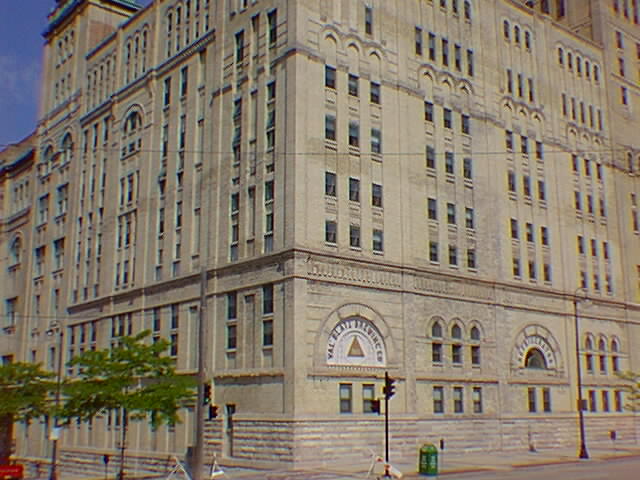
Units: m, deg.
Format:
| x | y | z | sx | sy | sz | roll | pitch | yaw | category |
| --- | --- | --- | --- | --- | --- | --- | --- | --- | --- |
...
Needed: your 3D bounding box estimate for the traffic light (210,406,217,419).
| x | y | z | sx | sy | sz | roll | pitch | yaw | category |
| --- | --- | --- | --- | --- | --- | --- | --- | --- | --- |
| -6.799 | 10.834 | 50.868 | 0.392 | 0.898 | 1.062 | 6 | -21 | -15 | traffic light |
